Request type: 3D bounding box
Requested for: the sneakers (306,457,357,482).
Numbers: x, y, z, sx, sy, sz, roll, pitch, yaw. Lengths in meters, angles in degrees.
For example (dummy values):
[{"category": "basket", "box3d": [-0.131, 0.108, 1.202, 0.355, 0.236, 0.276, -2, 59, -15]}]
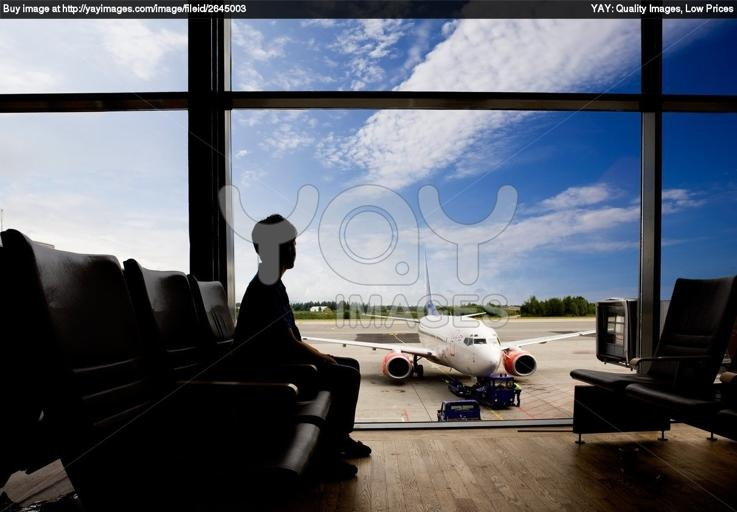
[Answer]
[{"category": "sneakers", "box3d": [-0.242, 1.482, 3.297, 0.371, 0.159, 0.126, 1, -7, -3]}]
